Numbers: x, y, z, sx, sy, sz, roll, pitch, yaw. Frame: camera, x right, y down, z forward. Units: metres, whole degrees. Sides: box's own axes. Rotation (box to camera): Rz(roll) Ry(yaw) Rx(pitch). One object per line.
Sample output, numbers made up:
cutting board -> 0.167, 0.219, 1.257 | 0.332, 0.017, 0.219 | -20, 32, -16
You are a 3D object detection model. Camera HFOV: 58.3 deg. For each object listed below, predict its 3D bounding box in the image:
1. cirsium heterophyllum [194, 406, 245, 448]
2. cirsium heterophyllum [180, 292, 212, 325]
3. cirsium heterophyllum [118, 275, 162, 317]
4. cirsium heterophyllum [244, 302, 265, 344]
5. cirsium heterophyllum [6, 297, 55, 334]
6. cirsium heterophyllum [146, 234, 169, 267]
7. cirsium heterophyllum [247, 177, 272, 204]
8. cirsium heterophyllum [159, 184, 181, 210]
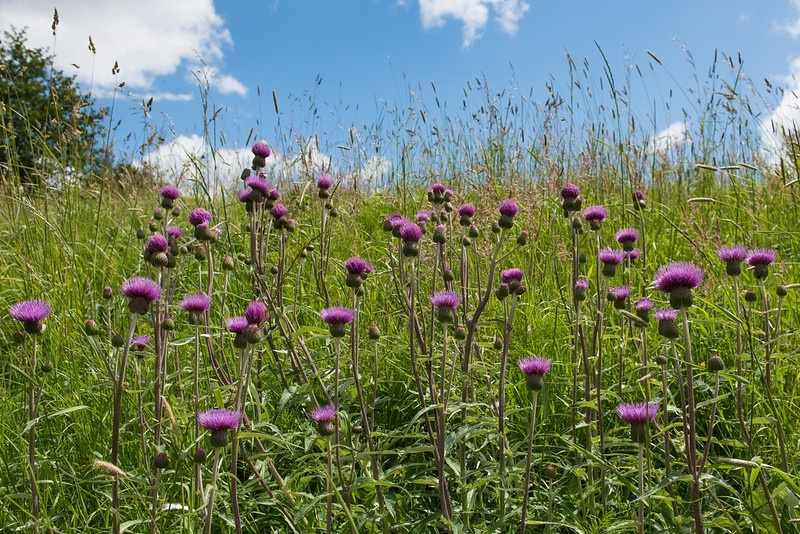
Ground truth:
cirsium heterophyllum -> -1.099, 0.976, 4.385 | 0.210, 0.227, 0.223 | -4, -13, 25
cirsium heterophyllum -> -1.374, 0.263, 4.861 | 0.176, 0.235, 0.186 | -1, 0, -42
cirsium heterophyllum -> -1.661, 0.170, 4.580 | 0.242, 0.298, 0.231 | 8, -5, -41
cirsium heterophyllum -> -0.886, 0.345, 4.462 | 0.115, 0.255, 0.130 | 6, 0, -40
cirsium heterophyllum -> -2.391, 0.299, 4.631 | 0.236, 0.302, 0.235 | 6, -4, -33
cirsium heterophyllum -> -1.613, -0.123, 4.751 | 0.155, 0.234, 0.148 | -11, -7, 8
cirsium heterophyllum -> -1.016, -0.558, 5.137 | 0.172, 0.185, 0.288 | -1, 7, -13
cirsium heterophyllum -> -1.713, -0.521, 5.343 | 0.162, 0.213, 0.158 | 2, -4, 35
